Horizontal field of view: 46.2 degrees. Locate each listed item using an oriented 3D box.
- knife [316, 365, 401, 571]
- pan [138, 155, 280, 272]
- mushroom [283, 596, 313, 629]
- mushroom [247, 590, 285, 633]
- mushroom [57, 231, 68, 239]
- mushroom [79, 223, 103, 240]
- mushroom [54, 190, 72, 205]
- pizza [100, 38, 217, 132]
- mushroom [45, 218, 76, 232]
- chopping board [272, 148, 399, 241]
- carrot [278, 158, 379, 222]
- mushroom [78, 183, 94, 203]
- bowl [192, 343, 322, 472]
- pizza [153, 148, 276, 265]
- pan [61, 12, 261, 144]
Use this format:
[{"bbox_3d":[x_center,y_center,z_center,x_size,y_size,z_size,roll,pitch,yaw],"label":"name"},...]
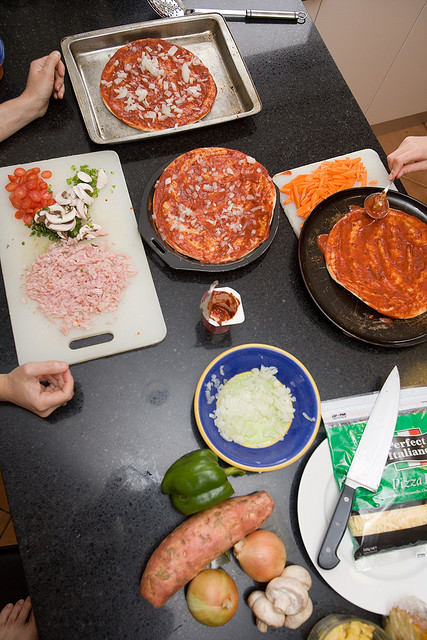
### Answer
[{"bbox_3d":[0.362,0.369,1.206,0.113,0.617,0.026,10,20,-15],"label":"knife"},{"bbox_3d":[-0.030,-0.346,1.403,0.411,0.245,0.369,-8,46,-12],"label":"pan"},{"bbox_3d":[0.177,0.626,1.058,0.055,0.030,0.070,21,77,2],"label":"mushroom"},{"bbox_3d":[0.114,0.613,1.058,0.065,0.086,0.034,34,23,7],"label":"mushroom"},{"bbox_3d":[-0.406,-0.230,1.346,0.014,0.016,0.004,10,21,-10],"label":"mushroom"},{"bbox_3d":[-0.332,-0.239,1.339,0.044,0.013,0.038,-38,108,-21],"label":"mushroom"},{"bbox_3d":[-0.407,-0.329,1.356,0.038,0.011,0.047,-9,56,-19],"label":"mushroom"},{"bbox_3d":[-0.182,-0.727,1.566,0.345,0.060,0.336,7,69,-8],"label":"pizza"},{"bbox_3d":[-0.404,-0.253,1.324,0.076,0.031,0.033,-10,59,-15],"label":"mushroom"},{"bbox_3d":[0.473,-0.392,1.645,0.355,0.016,0.297,-20,68,-7],"label":"chopping board"},{"bbox_3d":[0.336,-0.416,1.503,0.297,0.052,0.165,-32,73,-9],"label":"carrot"},{"bbox_3d":[-0.351,-0.345,1.386,0.052,0.013,0.040,60,35,-15],"label":"mushroom"},{"bbox_3d":[0.110,0.223,1.206,0.317,0.152,0.287,18,56,3],"label":"bowl"},{"bbox_3d":[-0.023,-0.334,1.479,0.435,0.306,0.382,-6,46,-11],"label":"pizza"},{"bbox_3d":[-0.190,-0.765,1.562,0.538,0.071,0.417,-17,89,-21],"label":"pan"}]
